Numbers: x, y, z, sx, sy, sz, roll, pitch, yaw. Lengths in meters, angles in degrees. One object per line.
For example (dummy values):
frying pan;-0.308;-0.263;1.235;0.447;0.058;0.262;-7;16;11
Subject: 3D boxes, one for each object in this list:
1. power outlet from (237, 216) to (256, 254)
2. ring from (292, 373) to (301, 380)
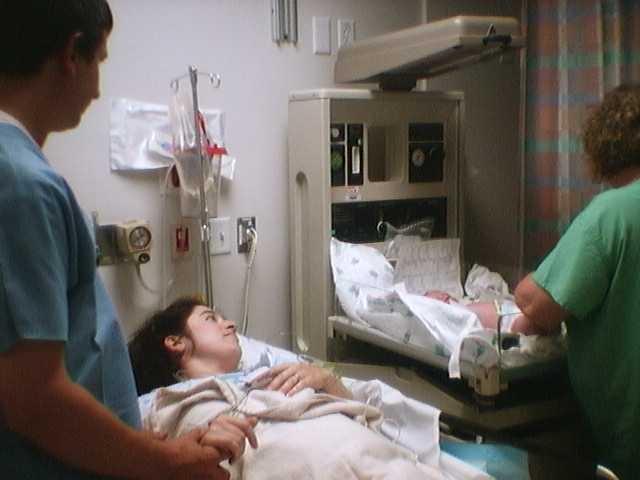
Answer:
power outlet;-0.284;-0.022;2.125;0.078;0.145;0.033;-4;6;-12
ring;-0.054;0.305;1.232;0.018;0.013;0.017;-3;5;0
